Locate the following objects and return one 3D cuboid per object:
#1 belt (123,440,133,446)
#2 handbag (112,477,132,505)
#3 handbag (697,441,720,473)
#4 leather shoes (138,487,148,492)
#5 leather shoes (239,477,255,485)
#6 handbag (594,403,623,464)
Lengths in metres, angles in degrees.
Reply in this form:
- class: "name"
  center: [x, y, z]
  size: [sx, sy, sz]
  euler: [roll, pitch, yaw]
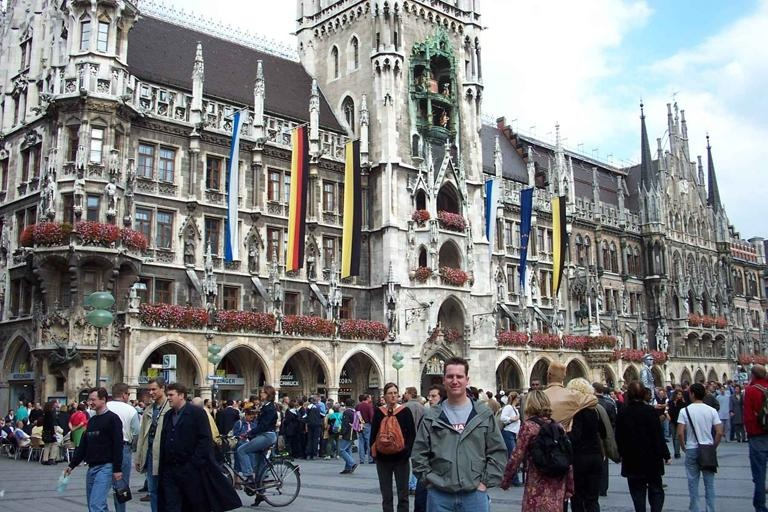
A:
- class: "belt"
  center: [-6.400, 4.673, 20.155]
  size: [0.224, 0.181, 0.454]
  euler: [4, -15, -20]
- class: "handbag"
  center: [-5.850, 5.245, 17.927]
  size: [0.368, 0.530, 0.448]
  euler: [3, -15, -18]
- class: "handbag"
  center: [7.582, 4.740, 18.942]
  size: [0.431, 0.636, 0.278]
  euler: [-6, -15, 19]
- class: "leather shoes"
  center: [-6.832, 6.592, 22.776]
  size: [0.228, 0.190, 0.556]
  euler: [4, -15, -23]
- class: "leather shoes"
  center: [-3.646, 5.972, 21.372]
  size: [0.201, 0.190, 0.496]
  euler: [9, -17, -37]
- class: "handbag"
  center: [5.219, 4.099, 18.806]
  size: [0.426, 1.379, 1.422]
  euler: [-5, -14, 15]
